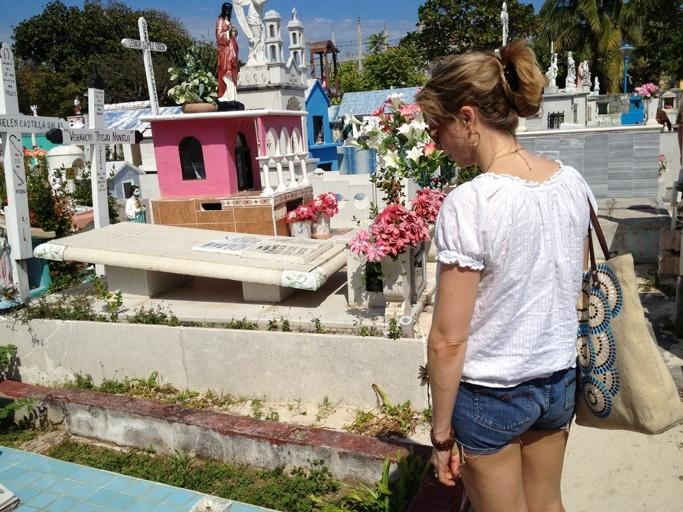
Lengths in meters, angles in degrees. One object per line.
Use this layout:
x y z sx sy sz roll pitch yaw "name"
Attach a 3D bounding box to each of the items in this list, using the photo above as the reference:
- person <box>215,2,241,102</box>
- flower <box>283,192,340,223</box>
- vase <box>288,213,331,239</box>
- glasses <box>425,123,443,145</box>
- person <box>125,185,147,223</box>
-2.097 -3.718 12.225 0.435 1.729 0.900 -5 13 -9 "person"
-0.556 -0.820 11.647 0.631 0.439 0.631 11 35 44 "flower"
-0.526 -0.517 11.644 0.638 0.470 0.386 -1 4 35 "vase"
0.533 -0.690 3.799 0.034 0.123 0.113 5 12 -2 "glasses"
-4.080 -0.992 13.249 0.337 0.815 1.610 -7 13 -16 "person"
